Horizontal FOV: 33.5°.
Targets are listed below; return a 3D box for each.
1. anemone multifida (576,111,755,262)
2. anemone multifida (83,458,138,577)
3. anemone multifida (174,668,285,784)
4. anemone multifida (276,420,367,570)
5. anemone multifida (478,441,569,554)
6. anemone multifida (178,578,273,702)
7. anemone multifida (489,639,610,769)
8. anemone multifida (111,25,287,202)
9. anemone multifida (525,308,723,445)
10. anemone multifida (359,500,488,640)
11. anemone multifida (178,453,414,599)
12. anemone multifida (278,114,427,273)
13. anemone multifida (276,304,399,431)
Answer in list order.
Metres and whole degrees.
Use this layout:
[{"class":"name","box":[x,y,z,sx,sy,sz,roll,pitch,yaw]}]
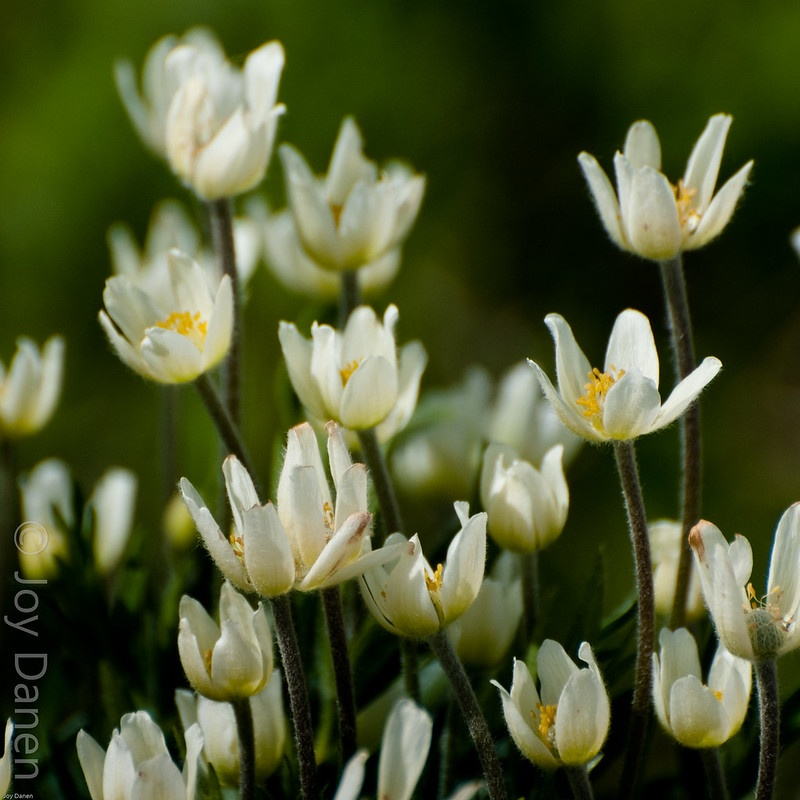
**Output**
[{"class":"anemone multifida","box":[0.127,-0.096,0.632,0.066,0.068,0.065,10,17,41]},{"class":"anemone multifida","box":[-0.170,0.069,0.766,0.023,0.060,0.011,5,-11,10]},{"class":"anemone multifida","box":[-0.080,0.159,0.622,0.044,0.053,0.044,-20,10,-7]},{"class":"anemone multifida","box":[-0.032,0.042,0.571,0.031,0.069,0.040,11,37,10]},{"class":"anemone multifida","box":[0.068,0.053,0.655,0.038,0.052,0.031,-23,17,-28]},{"class":"anemone multifida","box":[-0.076,0.108,0.581,0.032,0.054,0.038,-21,20,-10]},{"class":"anemone multifida","box":[0.064,0.137,0.568,0.038,0.054,0.043,-13,-5,30]},{"class":"anemone multifida","box":[-0.103,-0.182,0.685,0.065,0.100,0.094,-9,29,-11]},{"class":"anemone multifida","box":[0.099,0.005,0.607,0.082,0.058,0.090,4,8,18]},{"class":"anemone multifida","box":[0.017,0.082,0.585,0.038,0.058,0.054,-10,-8,6]},{"class":"anemone multifida","box":[-0.045,0.059,0.584,0.081,0.063,0.118,1,3,-13]},{"class":"anemone multifida","box":[-0.026,-0.106,0.704,0.055,0.074,0.079,7,20,4]},{"class":"anemone multifida","box":[-0.020,-0.007,0.650,0.040,0.077,0.061,8,4,-3]}]
